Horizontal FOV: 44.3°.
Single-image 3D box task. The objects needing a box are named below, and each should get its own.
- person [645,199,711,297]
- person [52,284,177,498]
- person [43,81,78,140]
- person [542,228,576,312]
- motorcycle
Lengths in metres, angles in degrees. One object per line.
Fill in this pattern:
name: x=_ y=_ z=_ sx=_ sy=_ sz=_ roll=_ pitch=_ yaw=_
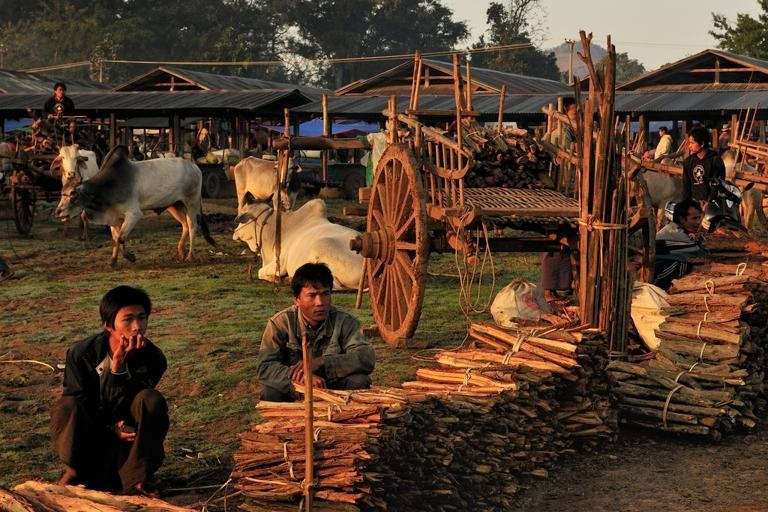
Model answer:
person: x=4.003 y=-0.155 z=12.702 sx=0.658 sy=1.142 sz=0.696 roll=3 pitch=14 yaw=19
person: x=-2.678 y=1.352 z=9.235 sx=1.094 sy=2.004 sz=0.736 roll=-3 pitch=13 yaw=-5
person: x=-7.103 y=-3.170 z=20.674 sx=0.656 sy=1.312 sz=1.587 roll=-6 pitch=14 yaw=-19
person: x=2.387 y=0.083 z=12.949 sx=0.448 sy=1.450 sz=2.108 roll=0 pitch=14 yaw=10
motorcycle: x=5.311 y=-0.877 z=15.573 sx=1.612 sy=1.070 sz=0.923 roll=-4 pitch=18 yaw=-41
